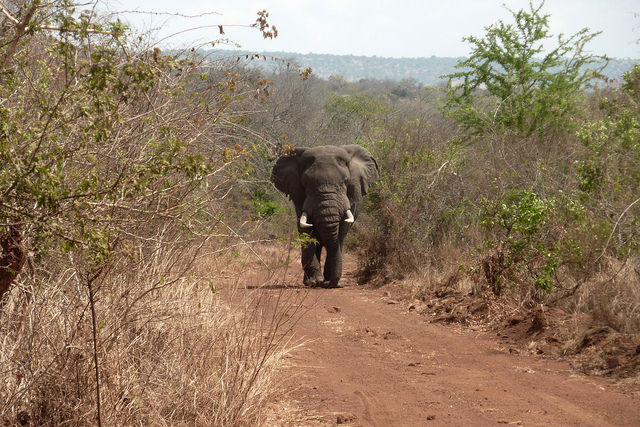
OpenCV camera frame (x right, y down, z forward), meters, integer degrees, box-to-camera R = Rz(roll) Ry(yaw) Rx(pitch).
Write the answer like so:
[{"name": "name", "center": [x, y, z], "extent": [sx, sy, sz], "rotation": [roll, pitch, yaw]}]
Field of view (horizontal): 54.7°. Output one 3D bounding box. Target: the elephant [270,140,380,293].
[{"name": "elephant", "center": [0.137, 0.082, 15.117], "extent": [2.447, 3.443, 4.601], "rotation": [-1, -3, 4]}]
